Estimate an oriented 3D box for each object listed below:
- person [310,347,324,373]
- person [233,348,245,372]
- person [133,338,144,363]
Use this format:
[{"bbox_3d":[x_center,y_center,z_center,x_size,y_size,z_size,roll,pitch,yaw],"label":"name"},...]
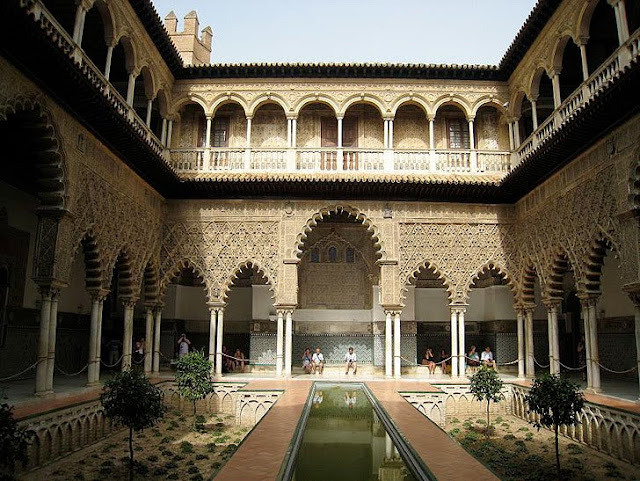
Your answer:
[{"bbox_3d":[-0.111,3.691,16.358,0.490,1.096,0.610,0,-51,2],"label":"person"},{"bbox_3d":[-2.588,3.823,16.891,0.350,0.840,0.498,-6,-24,9],"label":"person"},{"bbox_3d":[-5.708,3.474,16.728,0.294,0.712,0.820,5,-15,-20],"label":"person"}]
